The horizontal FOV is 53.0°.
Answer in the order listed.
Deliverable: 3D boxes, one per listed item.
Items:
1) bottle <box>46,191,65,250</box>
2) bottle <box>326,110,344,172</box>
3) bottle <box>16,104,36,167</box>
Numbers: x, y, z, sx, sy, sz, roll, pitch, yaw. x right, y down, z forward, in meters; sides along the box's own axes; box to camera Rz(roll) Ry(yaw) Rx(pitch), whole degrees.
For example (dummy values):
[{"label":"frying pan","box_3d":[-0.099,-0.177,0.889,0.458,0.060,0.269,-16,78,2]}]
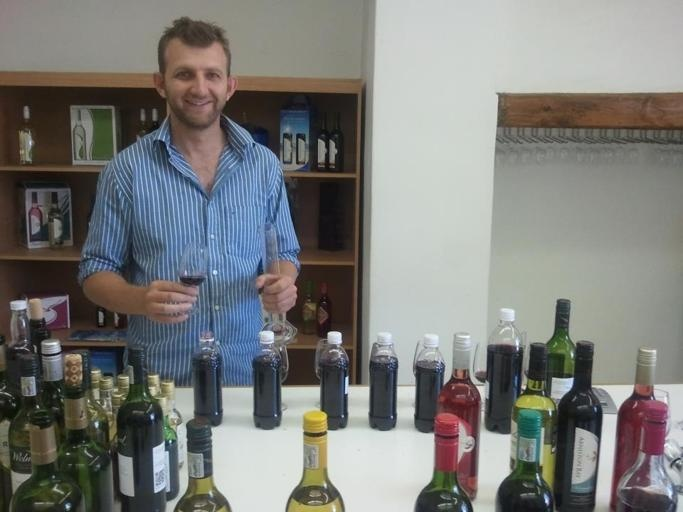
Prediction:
[{"label":"bottle","box_3d":[-1.594,-0.205,3.860,0.081,0.308,0.040,-1,2,-25]},{"label":"bottle","box_3d":[-0.023,-0.623,3.796,0.081,0.322,0.183,0,2,7]},{"label":"bottle","box_3d":[-1.745,-0.678,3.832,0.088,0.359,0.289,-1,2,-25]}]
